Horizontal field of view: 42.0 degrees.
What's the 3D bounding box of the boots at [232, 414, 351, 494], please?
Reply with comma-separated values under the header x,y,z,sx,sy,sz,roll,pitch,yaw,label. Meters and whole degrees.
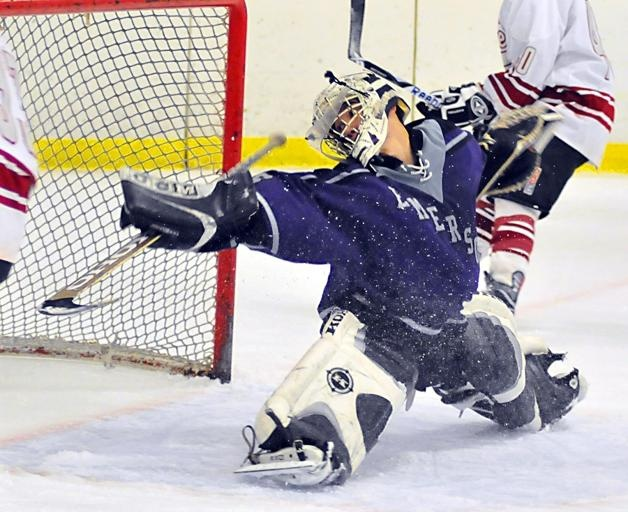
x,y,z,sx,sy,sz,roll,pitch,yaw,label
-0.043,0.466,2.001,0.182,0.101,0.223,1,-7,26,boots
